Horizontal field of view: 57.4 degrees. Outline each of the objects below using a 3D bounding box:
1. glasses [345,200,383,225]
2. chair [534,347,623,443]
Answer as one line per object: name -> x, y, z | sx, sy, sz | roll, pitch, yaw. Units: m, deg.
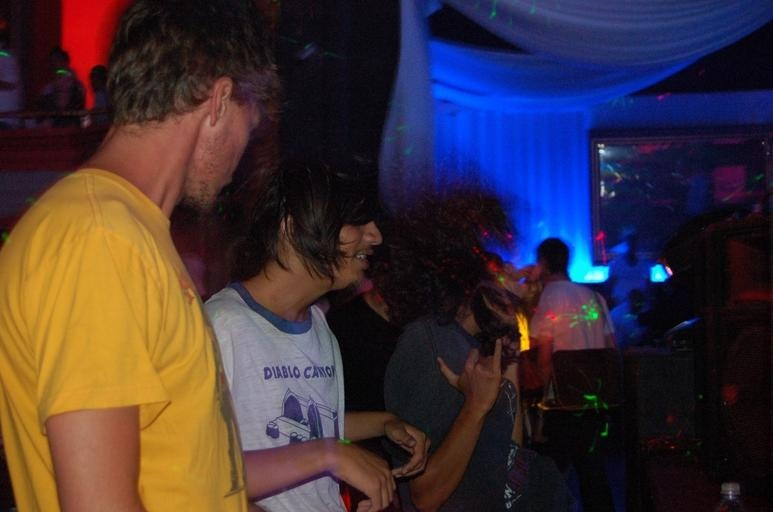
glasses -> -0.132, -0.225, 3.759 | 0.125, 0.091, 0.161 | -4, -1, -33
chair -> 1.592, 1.147, 5.953 | 0.577, 0.724, 0.762 | 2, -2, -7
